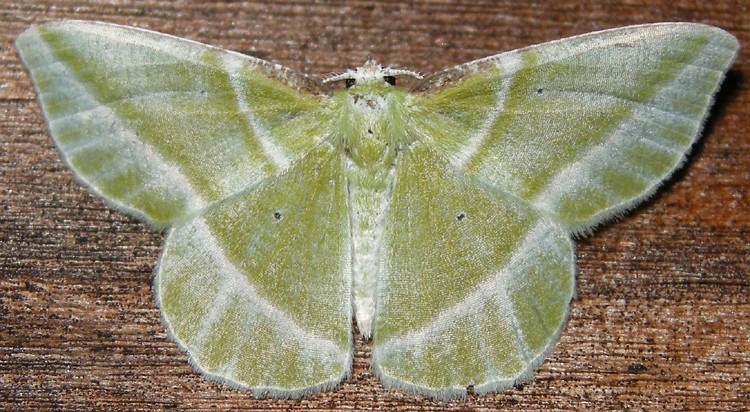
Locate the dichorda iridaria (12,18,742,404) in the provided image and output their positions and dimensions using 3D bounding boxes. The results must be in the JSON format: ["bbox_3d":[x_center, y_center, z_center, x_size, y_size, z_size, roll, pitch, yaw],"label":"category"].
[{"bbox_3d":[-0.038,-0.046,6.877,4.240,0.762,2.315,0,-74,1],"label":"dichorda iridaria"}]
